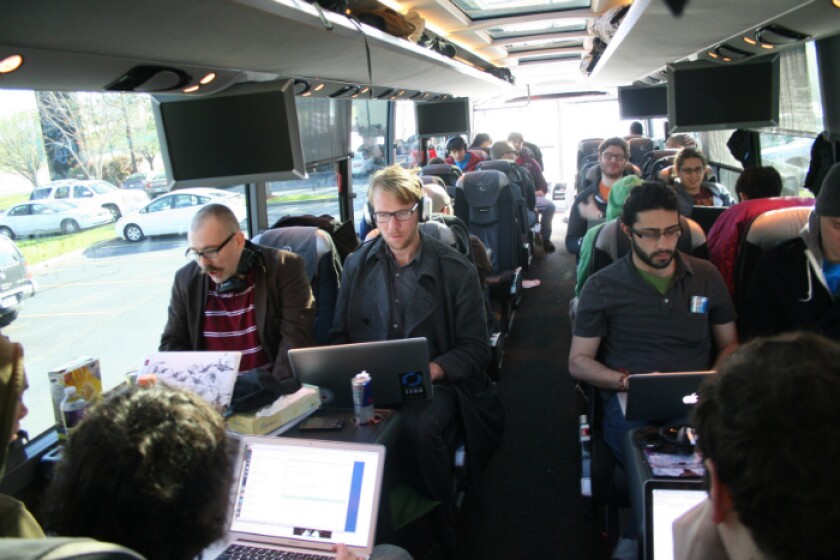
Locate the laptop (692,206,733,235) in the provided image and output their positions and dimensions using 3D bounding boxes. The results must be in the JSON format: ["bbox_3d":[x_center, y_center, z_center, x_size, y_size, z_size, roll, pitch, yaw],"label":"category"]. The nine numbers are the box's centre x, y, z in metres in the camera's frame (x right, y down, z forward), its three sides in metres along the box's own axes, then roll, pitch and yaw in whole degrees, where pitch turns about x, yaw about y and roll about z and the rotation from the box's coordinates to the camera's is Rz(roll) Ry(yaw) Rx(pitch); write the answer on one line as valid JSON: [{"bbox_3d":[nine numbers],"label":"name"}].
[{"bbox_3d":[2.419,-0.473,4.732,0.299,0.284,0.214,4,13,24],"label":"laptop"}]

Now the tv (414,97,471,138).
[{"bbox_3d":[0.341,-2.652,9.373,0.851,0.580,0.086,-5,10,-13],"label":"tv"}]

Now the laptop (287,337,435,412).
[{"bbox_3d":[-0.246,0.463,3.132,0.606,0.384,0.424,-4,24,3],"label":"laptop"}]

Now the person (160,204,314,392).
[{"bbox_3d":[-1.083,0.061,3.897,1.032,1.340,1.066,-4,3,1],"label":"person"}]

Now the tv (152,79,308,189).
[{"bbox_3d":[-1.150,-0.863,3.384,0.655,0.452,0.068,-9,6,6],"label":"tv"}]

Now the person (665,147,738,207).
[{"bbox_3d":[2.799,-0.898,5.697,0.504,0.700,0.714,-3,10,6],"label":"person"}]

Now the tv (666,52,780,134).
[{"bbox_3d":[2.657,-1.624,4.981,0.751,0.538,0.080,2,7,23],"label":"tv"}]

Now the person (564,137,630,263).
[{"bbox_3d":[1.399,-0.474,4.337,0.604,0.710,0.626,-3,-7,38],"label":"person"}]

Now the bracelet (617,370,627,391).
[{"bbox_3d":[1.148,0.576,3.231,0.063,0.100,0.093,2,42,12],"label":"bracelet"}]

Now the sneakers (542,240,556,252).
[{"bbox_3d":[2.331,-0.571,10.233,0.123,0.153,0.360,-6,-5,5],"label":"sneakers"}]

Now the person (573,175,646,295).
[{"bbox_3d":[1.408,-0.395,4.311,0.681,0.903,0.910,5,5,10],"label":"person"}]

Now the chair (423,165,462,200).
[{"bbox_3d":[0.331,-1.450,8.476,0.571,0.707,0.639,0,7,11],"label":"chair"}]

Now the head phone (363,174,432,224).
[{"bbox_3d":[-0.138,-0.490,3.599,0.282,0.326,0.351,-2,0,2],"label":"head phone"}]

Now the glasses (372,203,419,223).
[{"bbox_3d":[-0.144,-0.404,3.524,0.272,0.098,0.123,-3,15,4],"label":"glasses"}]

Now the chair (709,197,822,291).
[{"bbox_3d":[2.281,-0.310,4.041,0.589,0.790,0.751,1,15,14],"label":"chair"}]

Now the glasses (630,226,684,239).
[{"bbox_3d":[1.360,-0.269,3.274,0.253,0.066,0.084,0,15,12],"label":"glasses"}]

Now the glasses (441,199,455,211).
[{"bbox_3d":[0.282,-0.746,5.615,0.096,0.133,0.127,-6,-11,1],"label":"glasses"}]

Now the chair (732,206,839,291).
[{"bbox_3d":[2.311,-0.203,3.486,0.383,0.503,0.417,3,13,-23],"label":"chair"}]

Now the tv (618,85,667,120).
[{"bbox_3d":[3.590,-2.819,9.138,0.797,0.485,0.079,6,14,42],"label":"tv"}]
